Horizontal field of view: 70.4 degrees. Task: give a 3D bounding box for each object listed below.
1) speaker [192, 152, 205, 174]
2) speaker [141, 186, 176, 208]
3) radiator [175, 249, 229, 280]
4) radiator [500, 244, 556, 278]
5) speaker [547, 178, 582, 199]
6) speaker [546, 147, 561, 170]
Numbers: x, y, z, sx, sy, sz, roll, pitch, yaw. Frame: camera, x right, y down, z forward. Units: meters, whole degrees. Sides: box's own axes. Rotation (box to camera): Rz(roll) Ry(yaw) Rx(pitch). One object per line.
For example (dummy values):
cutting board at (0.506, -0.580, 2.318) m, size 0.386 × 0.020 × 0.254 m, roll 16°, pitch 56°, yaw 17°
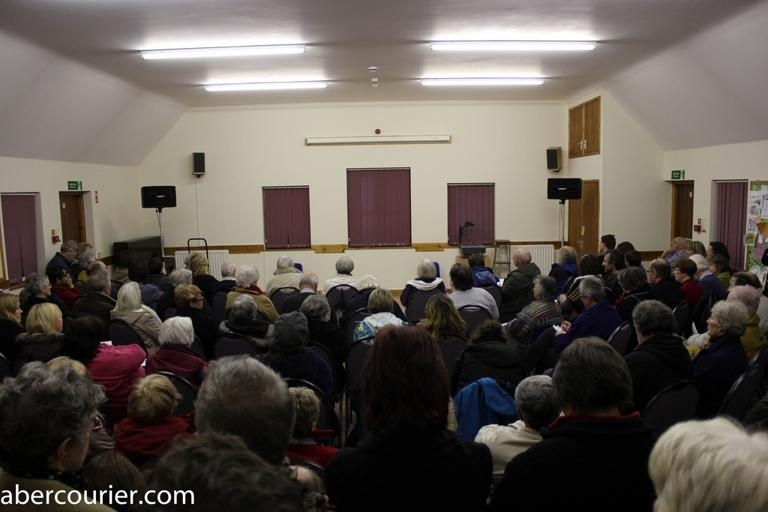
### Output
speaker at (-3.913, -1.945, 11.468) m, size 0.238 × 0.476 × 0.252 m, roll 1°, pitch -1°, yaw -11°
speaker at (-4.366, -1.146, 10.587) m, size 0.624 × 0.454 × 0.410 m, roll -1°, pitch 6°, yaw -12°
radiator at (-3.081, 0.147, 9.157) m, size 0.574 × 0.425 × 0.046 m, roll -1°, pitch -5°, yaw -4°
radiator at (2.529, 0.080, 9.638) m, size 0.658 × 0.529 × 0.096 m, roll 0°, pitch -2°, yaw -3°
speaker at (3.449, -1.268, 10.316) m, size 0.525 × 0.388 × 0.397 m, roll 1°, pitch 5°, yaw 15°
speaker at (3.595, -2.031, 11.421) m, size 0.450 × 0.501 × 0.262 m, roll 1°, pitch -1°, yaw -36°
